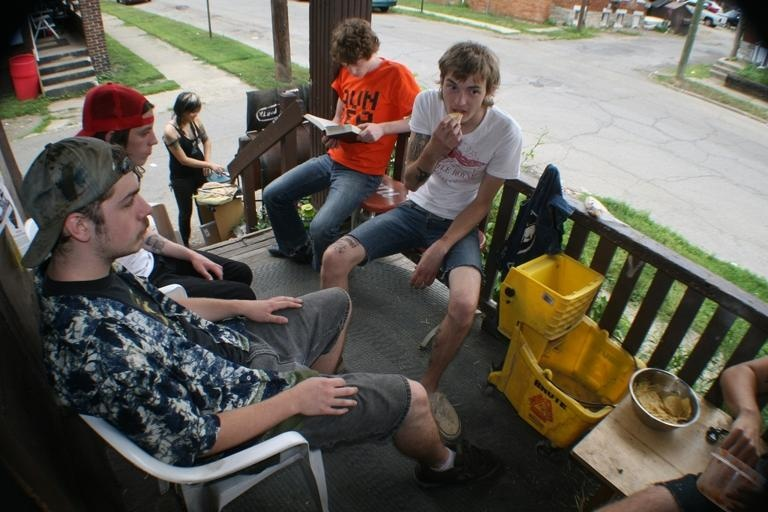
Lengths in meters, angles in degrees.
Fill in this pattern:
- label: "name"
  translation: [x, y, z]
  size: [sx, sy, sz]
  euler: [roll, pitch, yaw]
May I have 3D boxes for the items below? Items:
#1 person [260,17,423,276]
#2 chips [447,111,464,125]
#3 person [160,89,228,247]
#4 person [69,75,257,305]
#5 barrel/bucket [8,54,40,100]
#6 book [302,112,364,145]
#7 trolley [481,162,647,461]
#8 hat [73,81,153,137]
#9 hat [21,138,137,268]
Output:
- label: "person"
  translation: [-0.378, -0.901, 4.375]
  size: [1.156, 2.092, 1.286]
  euler: [23, 33, 29]
- label: "chips"
  translation: [0.498, -0.942, 3.410]
  size: [0.030, 0.100, 0.099]
  euler: [28, 12, -41]
- label: "person"
  translation: [-2.293, -1.004, 6.345]
  size: [0.875, 2.041, 0.715]
  euler: [15, 29, 16]
- label: "person"
  translation: [-1.422, -0.234, 3.662]
  size: [0.994, 1.841, 0.900]
  euler: [11, 31, 13]
- label: "barrel/bucket"
  translation: [-6.417, -3.118, 8.856]
  size: [0.394, 0.592, 0.381]
  euler: [11, 27, -6]
- label: "book"
  translation: [-0.356, -1.028, 4.025]
  size: [0.409, 0.098, 0.311]
  euler: [33, 25, 30]
- label: "trolley"
  translation: [1.098, 0.356, 3.509]
  size: [0.809, 1.002, 1.772]
  euler: [-7, 56, 19]
- label: "hat"
  translation: [-1.893, -0.995, 3.412]
  size: [0.585, 0.320, 0.359]
  euler: [-9, 20, 8]
- label: "hat"
  translation: [-1.473, -0.254, 2.409]
  size: [0.554, 0.562, 0.294]
  euler: [-17, 37, -33]
